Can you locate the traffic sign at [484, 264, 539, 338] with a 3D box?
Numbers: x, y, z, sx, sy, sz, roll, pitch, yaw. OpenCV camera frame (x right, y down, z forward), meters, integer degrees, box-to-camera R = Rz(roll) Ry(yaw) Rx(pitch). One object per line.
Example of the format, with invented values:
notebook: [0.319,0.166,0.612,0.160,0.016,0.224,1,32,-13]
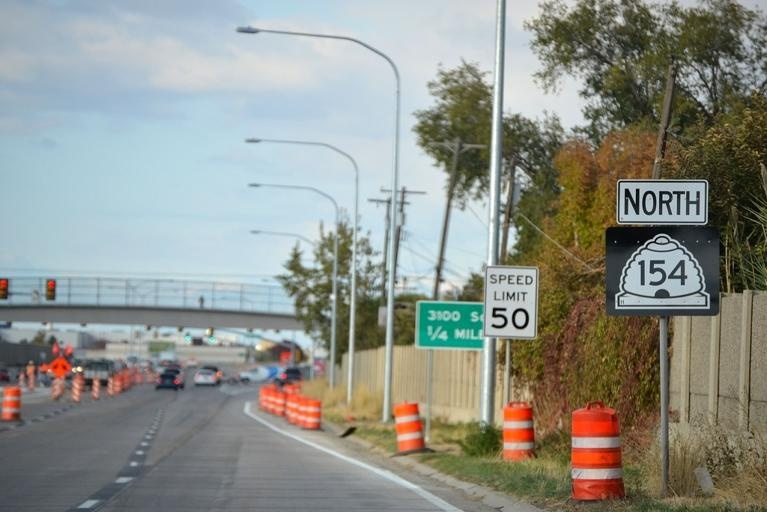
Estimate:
traffic sign: [3.155,1.156,26.599,1.491,2.199,0.237,1,-8,-1]
